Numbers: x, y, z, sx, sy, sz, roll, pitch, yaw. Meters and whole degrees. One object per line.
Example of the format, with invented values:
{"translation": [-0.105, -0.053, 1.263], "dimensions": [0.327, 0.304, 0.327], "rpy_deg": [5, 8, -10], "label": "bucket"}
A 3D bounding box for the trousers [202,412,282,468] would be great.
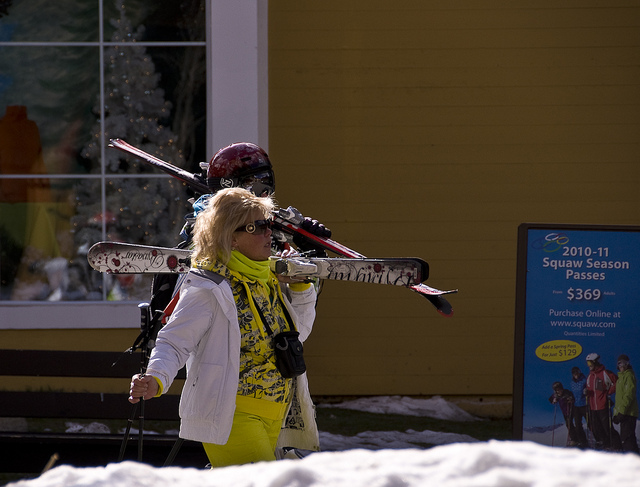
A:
{"translation": [-0.588, 1.478, 11.264], "dimensions": [0.580, 0.358, 0.349], "rpy_deg": [4, -1, -4], "label": "trousers"}

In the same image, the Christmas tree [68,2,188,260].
{"translation": [-1.761, -0.823, 13.977], "dimensions": [0.880, 2.910, 0.560], "rpy_deg": [3, 18, 5], "label": "Christmas tree"}

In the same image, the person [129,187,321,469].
{"translation": [-0.638, 0.635, 11.405], "dimensions": [1.391, 1.821, 0.493], "rpy_deg": [4, -1, -11], "label": "person"}

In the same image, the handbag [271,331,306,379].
{"translation": [-0.237, 0.842, 11.385], "dimensions": [0.239, 0.305, 0.166], "rpy_deg": [5, -2, -35], "label": "handbag"}
